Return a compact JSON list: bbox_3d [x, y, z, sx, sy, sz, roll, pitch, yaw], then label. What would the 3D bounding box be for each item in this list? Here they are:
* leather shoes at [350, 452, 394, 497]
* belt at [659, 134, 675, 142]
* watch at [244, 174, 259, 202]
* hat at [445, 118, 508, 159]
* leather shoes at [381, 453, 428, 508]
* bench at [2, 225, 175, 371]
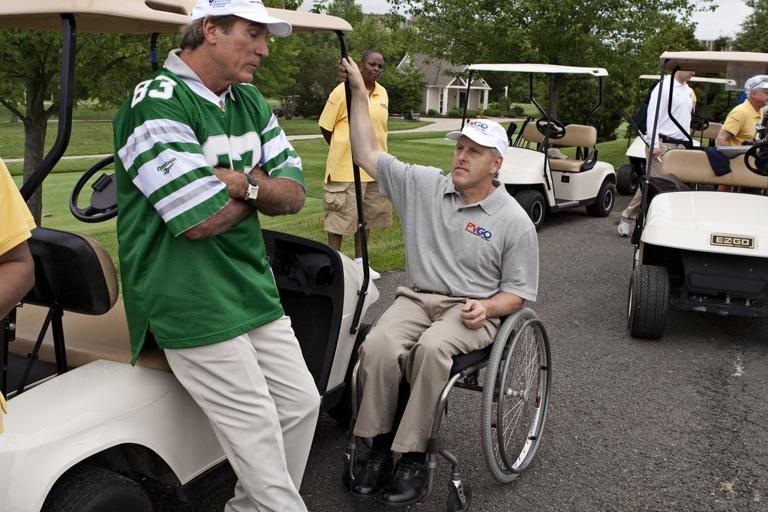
[{"bbox_3d":[-0.058,1.094,3.117,0.141,0.135,0.359,2,16,21],"label":"leather shoes"},{"bbox_3d":[3.482,-1.455,7.450,0.140,0.036,0.144,20,14,42],"label":"belt"},{"bbox_3d":[-0.530,-0.273,2.428,0.058,0.096,0.093,9,-18,-13],"label":"watch"},{"bbox_3d":[0.561,-0.696,3.446,0.266,0.192,0.381,12,9,34],"label":"hat"},{"bbox_3d":[0.105,1.114,2.976,0.135,0.133,0.295,3,9,25],"label":"leather shoes"},{"bbox_3d":[-1.345,0.175,3.125,0.619,0.921,0.798,7,11,39],"label":"bench"}]
